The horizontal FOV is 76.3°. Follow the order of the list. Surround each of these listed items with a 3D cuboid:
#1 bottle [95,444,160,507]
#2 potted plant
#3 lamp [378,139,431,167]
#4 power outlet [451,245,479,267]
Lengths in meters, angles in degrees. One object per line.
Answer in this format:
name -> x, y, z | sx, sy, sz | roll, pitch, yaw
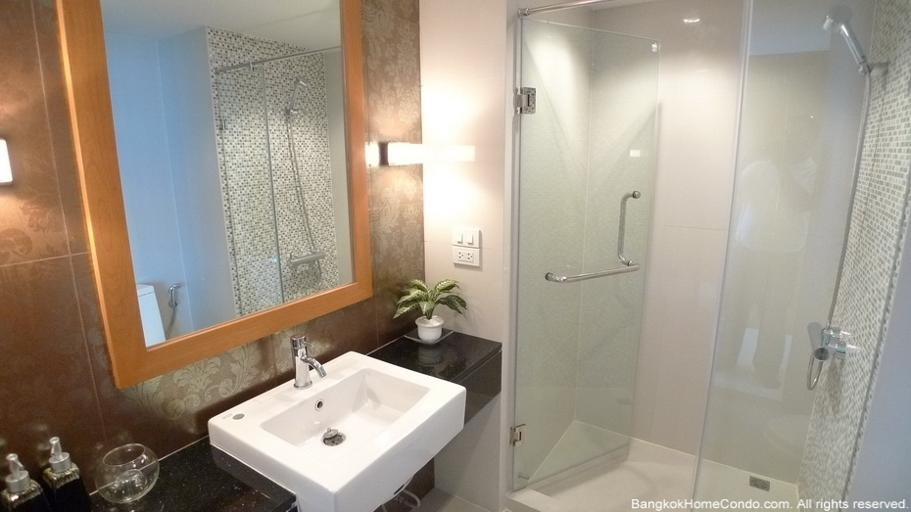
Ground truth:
bottle -> -1.396, 0.932, 2.586 | 0.274, 0.236, 0.261 | 4, 10, 1
potted plant -> -0.156, 0.288, 3.435 | 0.432, 0.283, 0.405 | 0, 11, -6
lamp -> -0.306, -0.599, 3.383 | 0.087, 0.148, 0.345 | 9, 17, 43
power outlet -> 0.068, -0.004, 3.468 | 0.130, 0.086, 0.024 | 10, 25, 34
